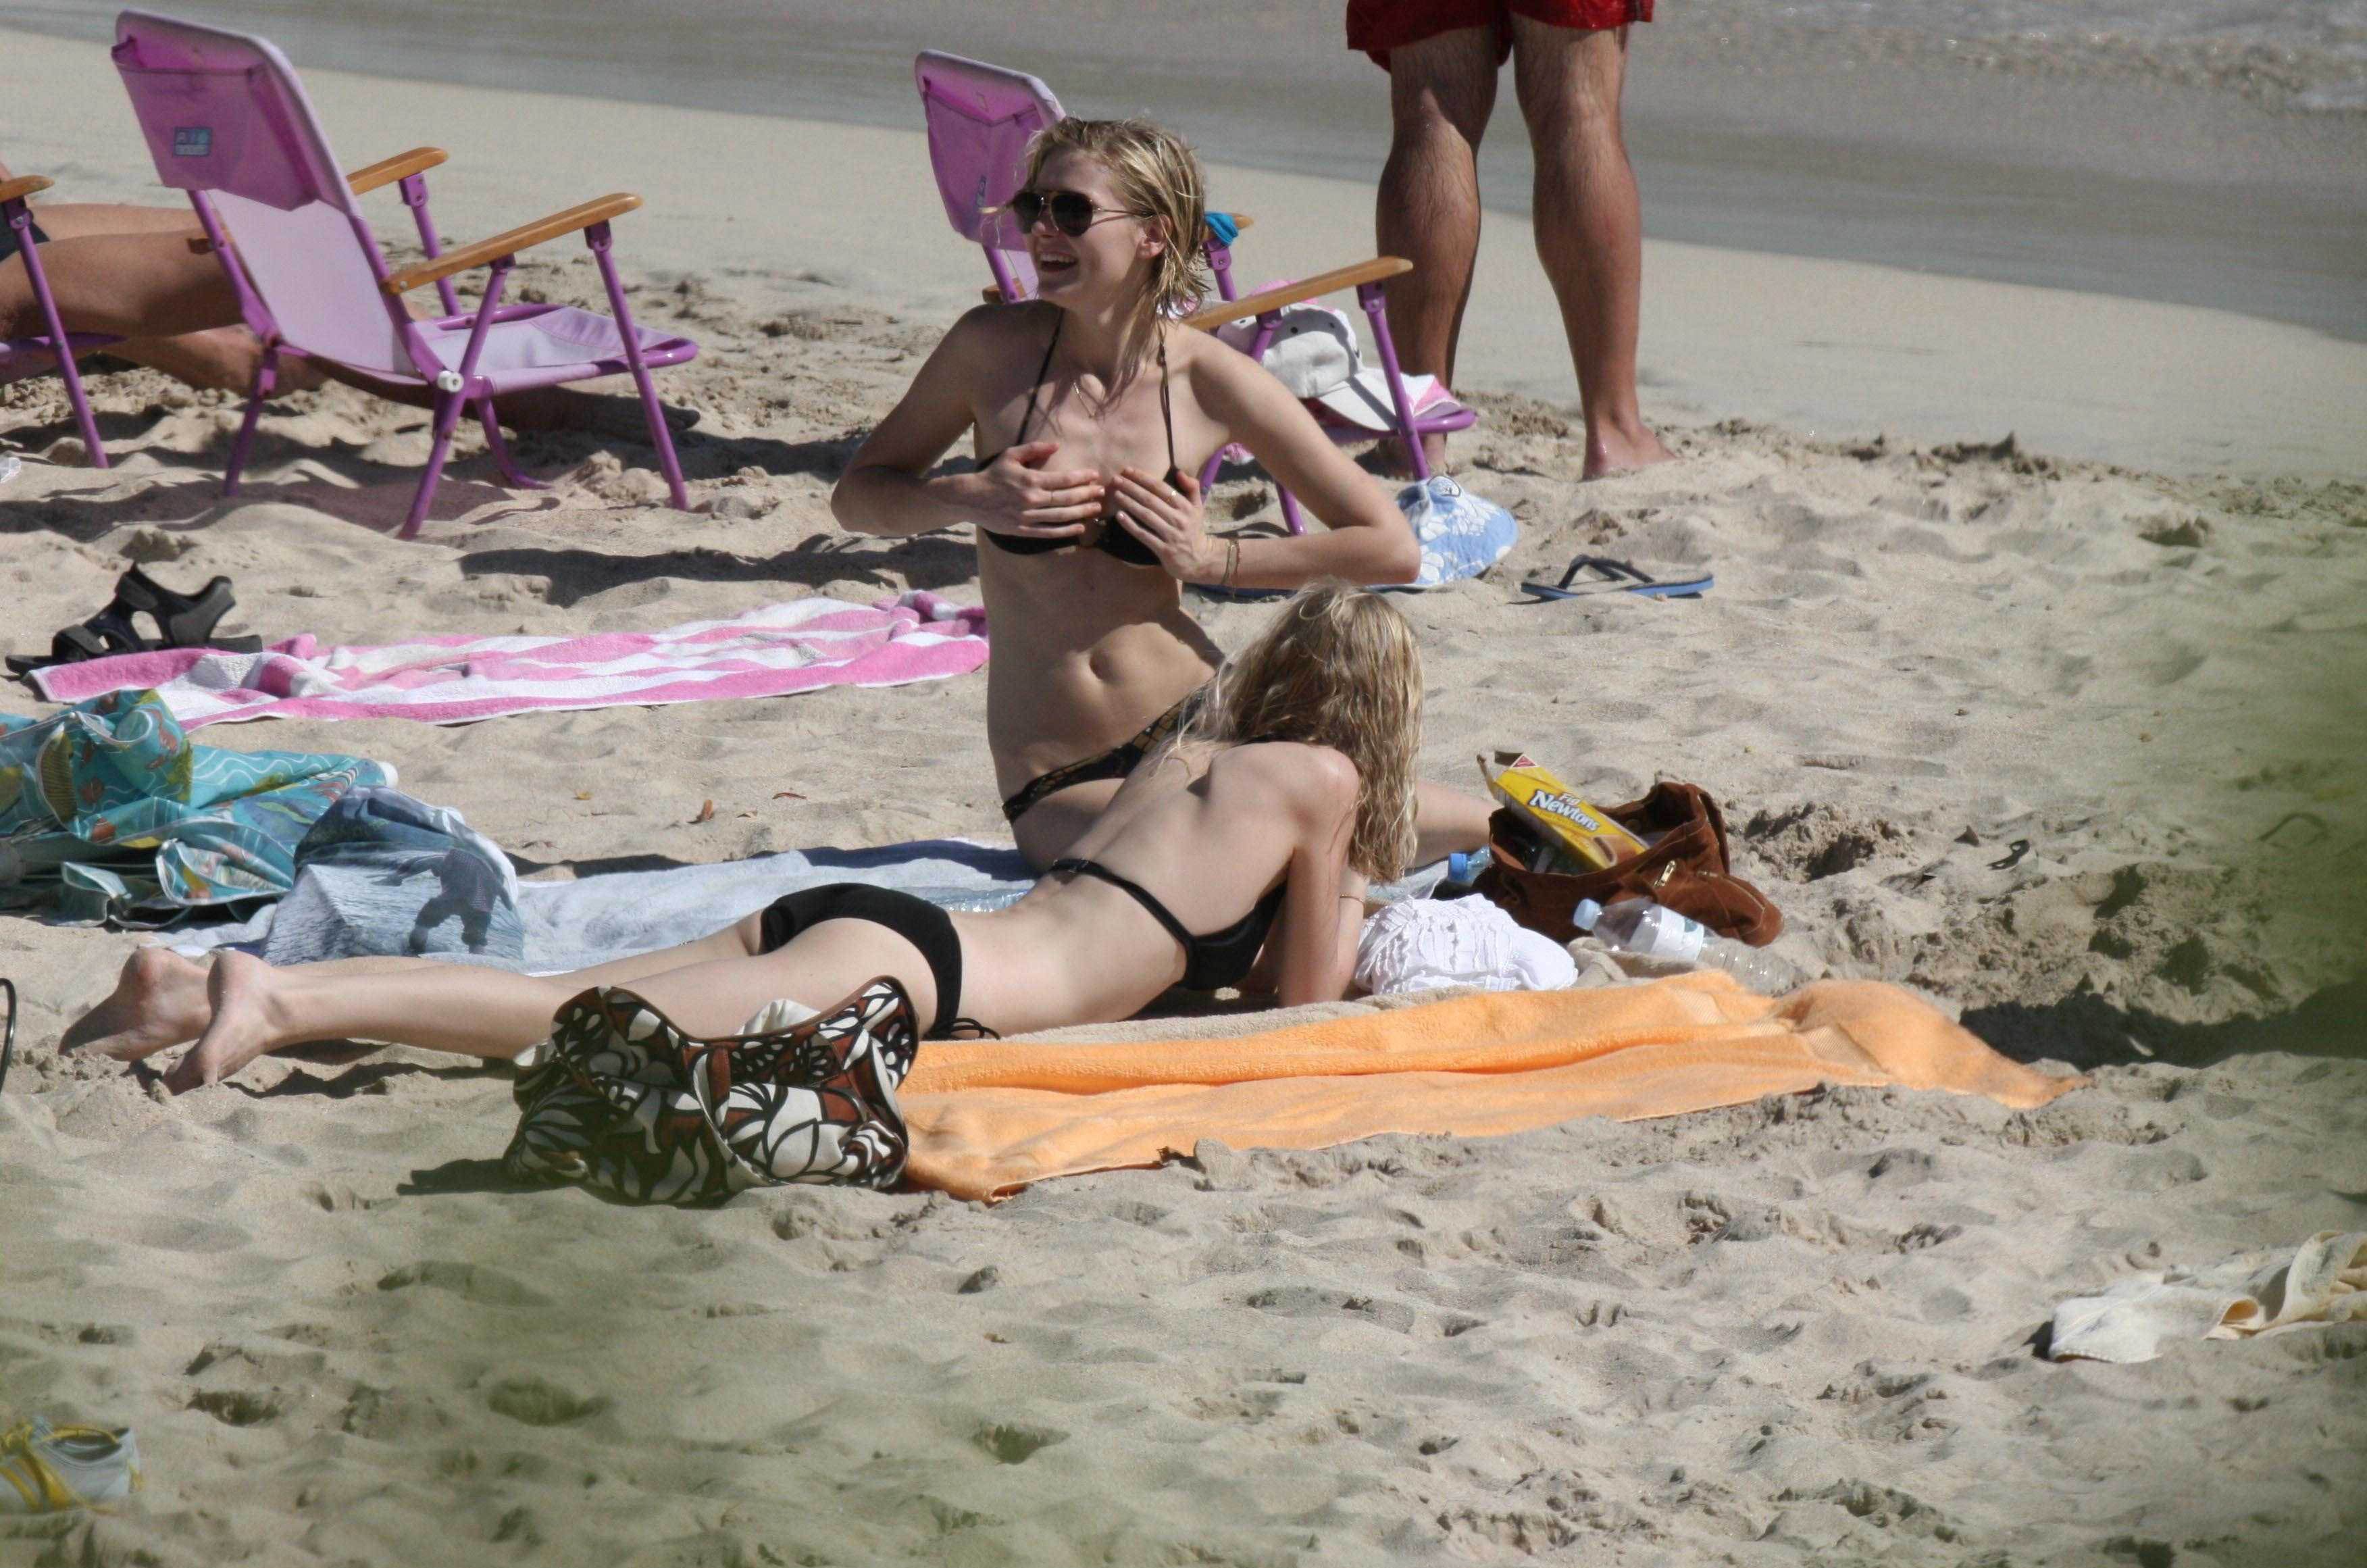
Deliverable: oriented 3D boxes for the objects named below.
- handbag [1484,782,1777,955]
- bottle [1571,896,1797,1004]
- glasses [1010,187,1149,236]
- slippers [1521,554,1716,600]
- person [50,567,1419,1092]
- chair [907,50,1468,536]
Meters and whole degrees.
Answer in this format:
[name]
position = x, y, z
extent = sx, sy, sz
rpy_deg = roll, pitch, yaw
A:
[handbag]
position = 1.231, 0.228, 7.111
extent = 0.684, 0.215, 0.700
rpy_deg = 5, 9, -7
[bottle]
position = 1.122, 0.378, 6.788
extent = 0.658, 0.134, 0.163
rpy_deg = 12, 11, 4
[glasses]
position = -0.273, -1.331, 6.707
extent = 0.179, 0.050, 0.183
rpy_deg = 2, 3, 24
[slippers]
position = 1.363, -0.631, 9.019
extent = 0.441, 0.090, 0.223
rpy_deg = 0, 1, -2
[person]
position = -0.632, 0.156, 6.197
extent = 2.484, 0.916, 0.874
rpy_deg = -12, 26, -32
[chair]
position = 0.201, -1.514, 9.726
extent = 2.228, 1.518, 1.269
rpy_deg = 9, 13, 6
